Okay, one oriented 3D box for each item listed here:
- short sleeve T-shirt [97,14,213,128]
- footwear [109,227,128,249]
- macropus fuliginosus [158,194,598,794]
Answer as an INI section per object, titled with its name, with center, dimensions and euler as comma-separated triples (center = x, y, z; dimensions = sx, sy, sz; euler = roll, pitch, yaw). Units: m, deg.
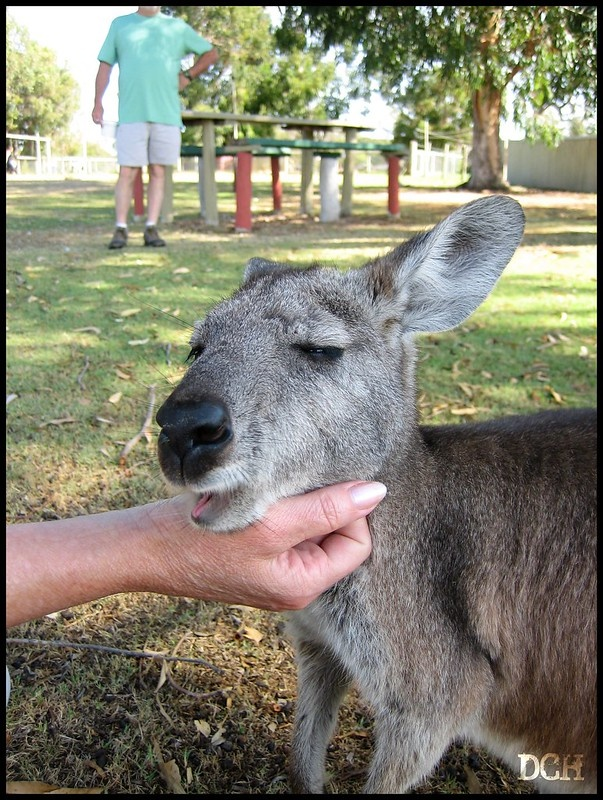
[short sleeve T-shirt]
center = -0.783, -1.654, 3.488
dimensions = 0.371, 0.496, 0.570
euler = 11, 14, 43
[footwear]
center = -1.007, -0.888, 3.854
dimensions = 0.119, 0.127, 0.100
euler = -5, 12, -32
[macropus fuliginosus]
center = 0.318, 0.321, 2.030
dimensions = 1.331, 1.807, 0.729
euler = -1, 11, -10
